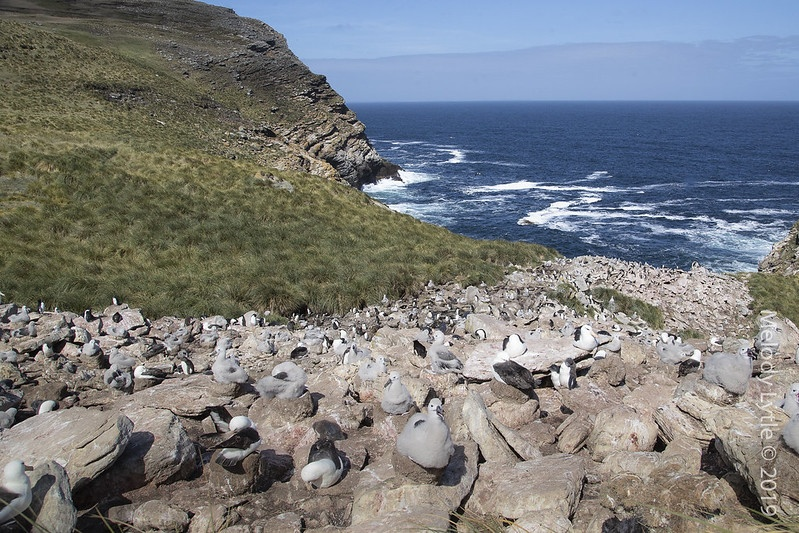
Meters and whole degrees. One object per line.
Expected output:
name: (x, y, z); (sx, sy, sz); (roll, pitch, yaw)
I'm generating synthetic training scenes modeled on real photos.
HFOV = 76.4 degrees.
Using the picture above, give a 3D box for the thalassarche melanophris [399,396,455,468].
thalassarche melanophris: (0.463, 3.057, 9.750); (1.000, 1.077, 1.278); (0, 7, -33)

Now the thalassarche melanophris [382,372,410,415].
thalassarche melanophris: (-0.075, 2.608, 10.835); (0.647, 0.866, 0.877); (-6, 17, 8)

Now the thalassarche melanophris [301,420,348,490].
thalassarche melanophris: (-1.443, 3.569, 9.711); (0.637, 1.087, 0.733); (7, -19, 3)

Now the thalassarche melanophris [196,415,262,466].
thalassarche melanophris: (-3.308, 3.239, 9.628); (1.167, 0.747, 0.760); (-13, 9, -29)
